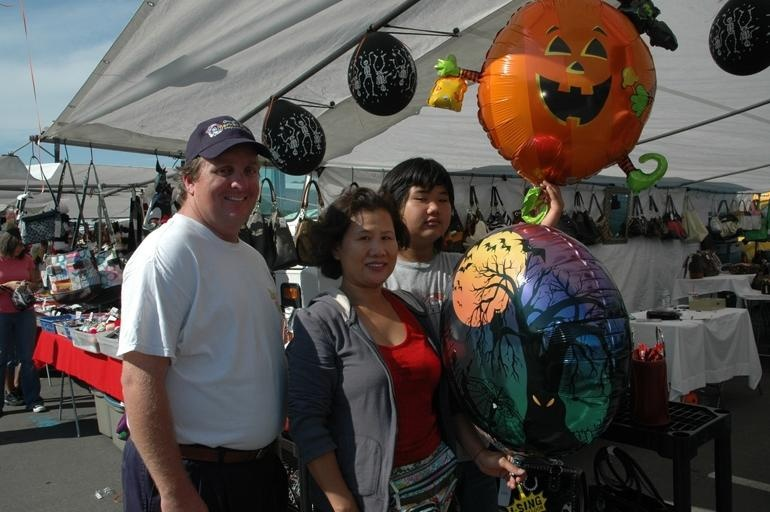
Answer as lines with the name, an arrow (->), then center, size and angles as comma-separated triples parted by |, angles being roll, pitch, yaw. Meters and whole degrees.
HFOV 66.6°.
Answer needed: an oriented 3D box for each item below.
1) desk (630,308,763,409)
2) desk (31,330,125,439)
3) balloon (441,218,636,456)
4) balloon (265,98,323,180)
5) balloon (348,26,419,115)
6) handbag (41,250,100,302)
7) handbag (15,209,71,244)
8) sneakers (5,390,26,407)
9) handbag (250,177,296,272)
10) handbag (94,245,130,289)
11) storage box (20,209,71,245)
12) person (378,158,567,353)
desk -> 3.188, 1.013, 5.938 | 1.212, 0.737, 0.883 | -6, 8, -38
desk -> -3.416, 1.433, 6.451 | 1.360, 0.789, 1.092 | 11, 3, 38
balloon -> 0.817, 0.428, 3.269 | 0.965, 1.363, 0.977 | -4, 0, -31
balloon -> -0.787, -0.997, 4.976 | 0.506, 0.671, 0.180 | -32, 9, -10
balloon -> -0.011, -1.476, 4.771 | 0.504, 0.741, 0.546 | -10, 8, 10
handbag -> -3.401, 0.212, 6.356 | 0.517, 0.617, 0.292 | -10, 10, -11
handbag -> -4.452, -0.253, 7.595 | 0.404, 0.417, 0.567 | -8, -20, -24
sneakers -> -5.114, 1.952, 8.040 | 0.149, 0.187, 0.376 | 2, -5, -42
handbag -> -1.063, -0.276, 5.510 | 0.281, 0.856, 0.611 | -30, -47, 15
handbag -> -3.042, 0.150, 6.442 | 0.407, 0.474, 0.133 | -24, -2, -3
storage box -> -4.502, -0.364, 7.582 | 0.395, 0.415, 0.520 | -8, 4, -29
person -> 0.498, -0.163, 4.040 | 1.197, 1.482, 0.943 | -5, -3, 1
